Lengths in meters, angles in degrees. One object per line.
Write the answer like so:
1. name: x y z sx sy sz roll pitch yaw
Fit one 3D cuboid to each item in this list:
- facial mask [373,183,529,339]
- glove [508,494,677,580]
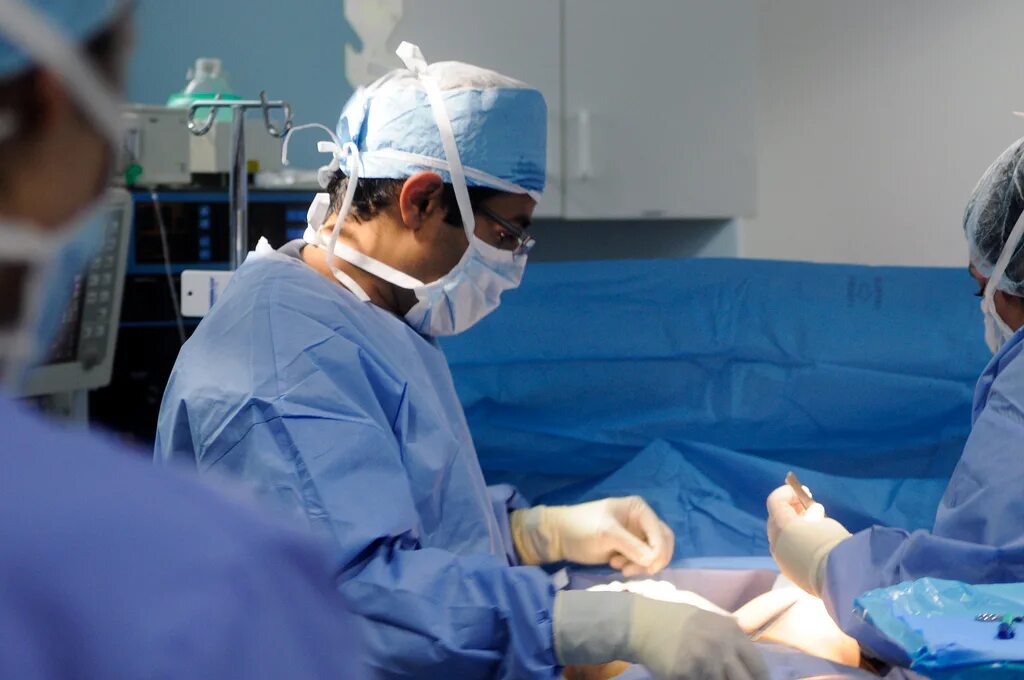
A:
1. facial mask: -0.104 -0.126 2.376 0.163 0.284 0.274 -38 10 3
2. glove: 0.169 0.429 2.491 0.362 0.219 0.233 4 51 5
